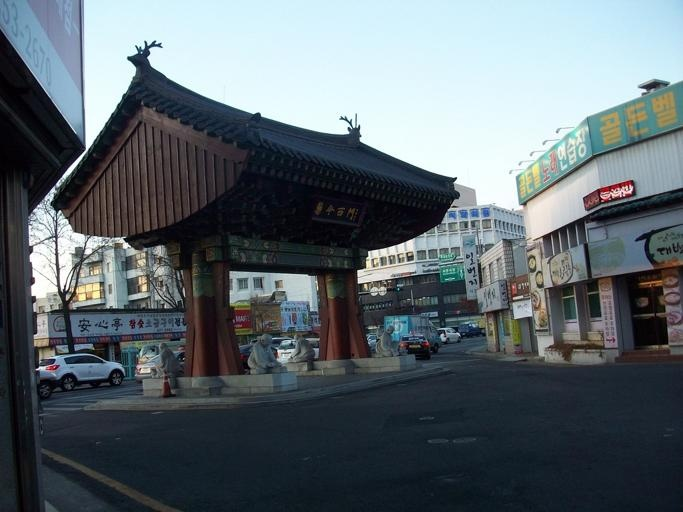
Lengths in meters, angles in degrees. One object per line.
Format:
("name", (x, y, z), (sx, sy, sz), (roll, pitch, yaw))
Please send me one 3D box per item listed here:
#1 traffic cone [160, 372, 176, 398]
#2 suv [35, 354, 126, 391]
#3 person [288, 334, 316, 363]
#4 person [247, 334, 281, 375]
("traffic cone", (-5.911, 4.412, 18.736), (0.625, 0.817, 0.615), (1, -16, -21))
("suv", (-13.691, 6.187, 29.202), (1.925, 1.554, 4.047), (-8, -7, 38))
("person", (-1.806, 4.468, 25.944), (1.298, 1.533, 1.046), (-5, -21, 12))
("person", (-2.626, 3.241, 18.334), (0.939, 1.258, 0.826), (-9, -7, 41))
